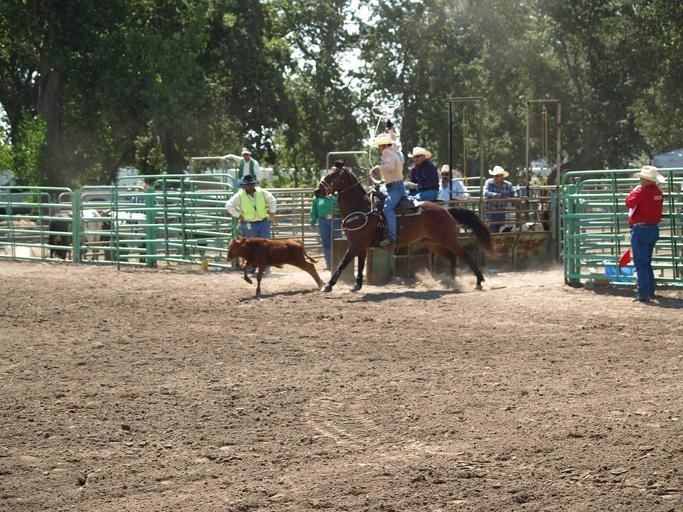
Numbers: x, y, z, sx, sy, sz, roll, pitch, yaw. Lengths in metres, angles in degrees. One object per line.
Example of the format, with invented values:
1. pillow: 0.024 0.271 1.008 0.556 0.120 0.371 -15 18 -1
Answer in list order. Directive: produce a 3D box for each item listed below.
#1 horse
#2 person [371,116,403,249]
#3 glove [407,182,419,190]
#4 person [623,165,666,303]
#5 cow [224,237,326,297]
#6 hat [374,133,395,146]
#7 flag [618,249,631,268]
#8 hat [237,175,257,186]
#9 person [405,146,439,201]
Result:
1. horse: 1.190 -0.523 18.939 3.807 2.314 0.806 2 5 -19
2. person: 0.882 -1.359 18.404 0.630 2.339 0.916 0 1 3
3. glove: 1.342 -1.340 19.077 0.177 0.104 0.172 1 0 -13
4. person: 5.098 -0.362 16.571 0.601 2.271 0.768 0 1 17
5. cow: -1.242 0.181 18.073 1.615 0.980 0.685 0 1 -7
6. hat: 0.790 -2.161 18.391 0.461 0.242 0.450 1 1 30
7. flag: 5.046 0.054 17.558 0.234 0.302 0.083 33 63 27
8. hat: -1.872 -1.515 19.824 0.278 0.114 0.310 -5 3 4
9. person: 1.582 -1.607 19.643 0.722 1.068 0.728 -8 10 -34
